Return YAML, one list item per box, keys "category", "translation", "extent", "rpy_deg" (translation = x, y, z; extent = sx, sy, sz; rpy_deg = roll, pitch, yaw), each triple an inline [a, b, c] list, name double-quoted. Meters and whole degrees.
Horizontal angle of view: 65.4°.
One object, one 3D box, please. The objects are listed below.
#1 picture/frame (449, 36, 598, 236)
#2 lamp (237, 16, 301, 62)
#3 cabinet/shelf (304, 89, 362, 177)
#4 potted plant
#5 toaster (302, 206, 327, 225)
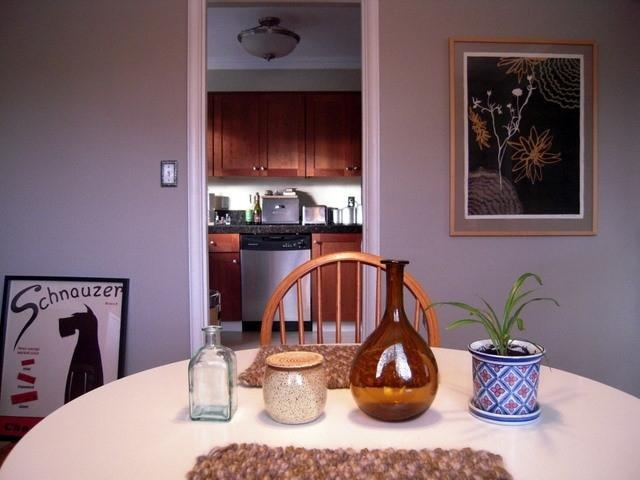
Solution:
- category: "picture/frame"
  translation: [1.017, -0.550, 2.565]
  extent: [0.902, 1.309, 0.046]
  rpy_deg: [0, -3, -4]
- category: "lamp"
  translation: [-0.404, -1.643, 4.047]
  extent: [0.408, 0.194, 0.402]
  rpy_deg: [-1, 2, 34]
- category: "cabinet/shelf"
  translation: [0.150, -1.010, 5.005]
  extent: [0.687, 1.113, 0.698]
  rpy_deg: [0, 1, 3]
- category: "potted plant"
  translation: [0.403, 0.242, 1.132]
  extent: [0.232, 0.314, 0.167]
  rpy_deg: [-3, -3, 19]
- category: "toaster"
  translation: [-0.050, -0.246, 4.967]
  extent: [0.277, 0.273, 0.161]
  rpy_deg: [0, -5, 2]
